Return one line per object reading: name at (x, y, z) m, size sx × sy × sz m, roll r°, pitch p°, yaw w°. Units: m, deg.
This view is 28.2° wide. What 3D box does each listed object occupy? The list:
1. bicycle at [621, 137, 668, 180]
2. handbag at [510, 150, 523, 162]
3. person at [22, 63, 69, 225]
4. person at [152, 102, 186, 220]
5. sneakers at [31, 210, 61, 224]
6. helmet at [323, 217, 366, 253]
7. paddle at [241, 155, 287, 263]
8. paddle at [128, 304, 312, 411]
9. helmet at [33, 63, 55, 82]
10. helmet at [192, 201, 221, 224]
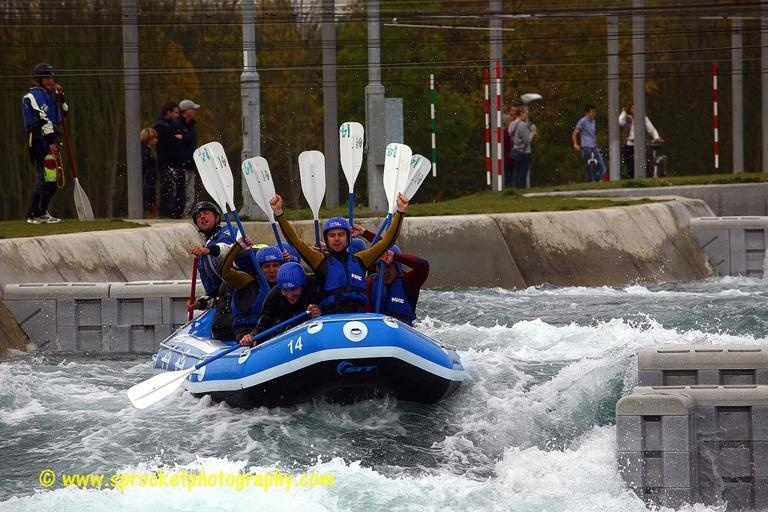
bicycle at (6.932, -2.523, 40.221) m, size 1.032 × 1.298 × 2.370 m, roll -1°, pitch -1°, yaw 6°
handbag at (2.963, -2.278, 34.613) m, size 0.330 × 0.174 × 0.229 m, roll 5°, pitch 33°, yaw 33°
person at (-6.294, -2.045, 28.437) m, size 0.893 × 2.996 × 0.905 m, roll -6°, pitch 9°, yaw -12°
person at (-4.444, -1.965, 31.931) m, size 0.555 × 2.463 × 1.007 m, roll -6°, pitch 9°, yaw -9°
sneakers at (-6.375, -0.730, 29.020) m, size 0.607 × 0.264 × 0.196 m, roll -3°, pitch 10°, yaw -15°
helmet at (-0.662, -0.391, 24.421) m, size 0.463 × 0.504 × 0.583 m, roll -12°, pitch 13°, yaw -2°
paddle at (-1.970, -0.925, 25.802) m, size 0.485 × 2.172 × 0.187 m, roll -23°, pitch -10°, yaw -2°
paddle at (-2.505, 1.658, 24.454) m, size 3.282 × 0.467 × 0.233 m, roll -25°, pitch -15°, yaw -1°
helmet at (-6.327, -3.394, 28.369) m, size 0.435 × 0.335 × 0.350 m, roll 4°, pitch 13°, yaw 19°
helmet at (-2.998, -0.853, 25.588) m, size 0.479 × 0.592 × 0.509 m, roll -1°, pitch -3°, yaw -4°
